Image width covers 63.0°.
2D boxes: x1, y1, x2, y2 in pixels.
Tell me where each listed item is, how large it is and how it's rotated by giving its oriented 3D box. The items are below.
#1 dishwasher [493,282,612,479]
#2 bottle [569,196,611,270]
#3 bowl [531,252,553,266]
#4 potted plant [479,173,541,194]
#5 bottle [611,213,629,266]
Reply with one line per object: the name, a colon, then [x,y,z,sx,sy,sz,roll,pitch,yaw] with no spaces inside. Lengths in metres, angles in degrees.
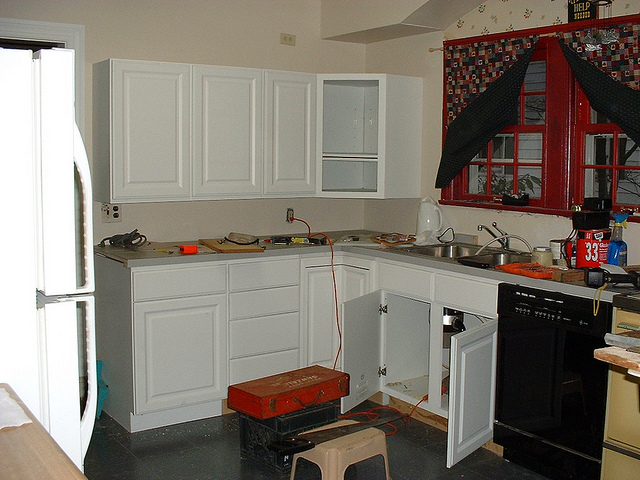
dishwasher: [1.255,0.813,2.874,0.066,1.085,0.657,-7,11,-41]
bottle: [1.534,-0.031,2.951,0.199,0.406,0.289,5,9,27]
bowl: [1.339,0.113,3.141,0.088,0.096,0.086,0,7,0]
potted plant: [1.439,-0.413,3.866,0.182,0.075,0.183,-20,13,-13]
bottle: [1.766,-0.007,3.059,0.096,0.301,0.270,5,10,30]
